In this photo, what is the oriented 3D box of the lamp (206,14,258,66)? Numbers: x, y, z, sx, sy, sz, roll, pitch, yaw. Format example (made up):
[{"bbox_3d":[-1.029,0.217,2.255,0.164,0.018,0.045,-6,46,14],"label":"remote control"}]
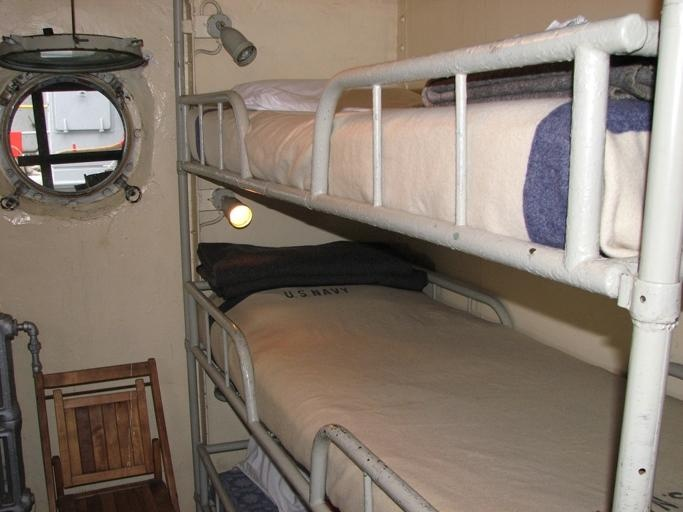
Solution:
[{"bbox_3d":[-0.564,-1.089,3.011,0.130,0.131,0.294,-4,42,-41],"label":"lamp"}]

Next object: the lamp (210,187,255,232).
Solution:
[{"bbox_3d":[-0.533,-0.231,2.898,0.122,0.108,0.402,27,4,-22],"label":"lamp"}]
